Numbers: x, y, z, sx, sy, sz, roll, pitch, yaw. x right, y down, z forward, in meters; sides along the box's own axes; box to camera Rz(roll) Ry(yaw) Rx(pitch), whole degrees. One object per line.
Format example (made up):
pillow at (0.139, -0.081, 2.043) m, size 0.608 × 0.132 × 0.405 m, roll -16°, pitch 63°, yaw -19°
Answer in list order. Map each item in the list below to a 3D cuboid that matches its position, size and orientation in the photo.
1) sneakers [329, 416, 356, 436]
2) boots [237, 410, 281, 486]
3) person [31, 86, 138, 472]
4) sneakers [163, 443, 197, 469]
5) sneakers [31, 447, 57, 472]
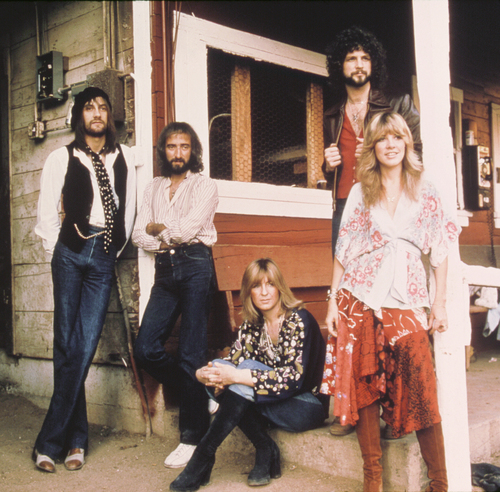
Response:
sneakers at (0.520, 1.022, 3.687) m, size 0.070 × 0.088 × 0.185 m, roll -7°, pitch -15°, yaw 38°
boots at (0.063, 1.127, 3.607) m, size 0.141 × 0.362 × 0.486 m, roll -14°, pitch -14°, yaw 12°
person at (-1.026, 0.153, 4.093) m, size 0.732 × 2.330 × 0.403 m, roll -3°, pitch 2°, yaw -30°
sneakers at (-0.417, 1.259, 4.040) m, size 0.098 × 0.125 × 0.271 m, roll 8°, pitch 4°, yaw 28°
sneakers at (-1.228, 1.276, 3.878) m, size 0.074 × 0.094 × 0.206 m, roll 2°, pitch -10°, yaw -28°
